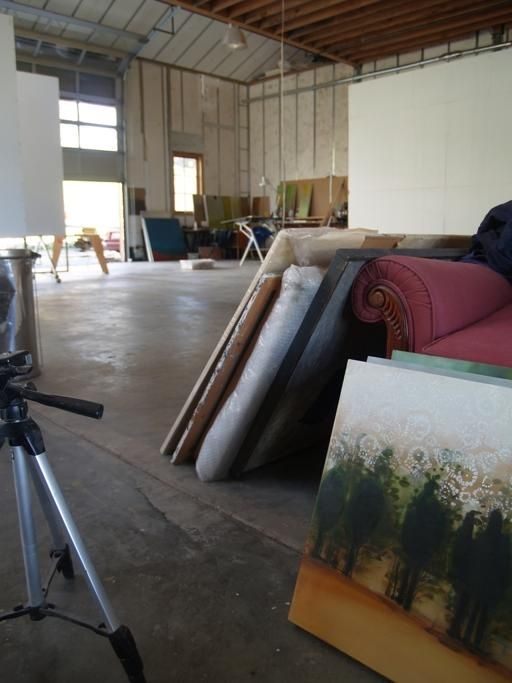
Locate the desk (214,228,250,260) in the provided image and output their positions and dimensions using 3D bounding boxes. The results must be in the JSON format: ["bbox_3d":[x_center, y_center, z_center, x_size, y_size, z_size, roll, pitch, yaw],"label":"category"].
[{"bbox_3d":[-0.820,-2.698,14.153,0.862,0.913,0.895,10,15,35],"label":"desk"}]

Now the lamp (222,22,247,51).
[{"bbox_3d":[-0.312,-4.490,7.599,0.279,0.406,0.397,4,11,17],"label":"lamp"}]

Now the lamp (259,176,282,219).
[{"bbox_3d":[0.451,-4.033,14.429,0.603,1.039,0.483,-4,3,-14],"label":"lamp"}]
